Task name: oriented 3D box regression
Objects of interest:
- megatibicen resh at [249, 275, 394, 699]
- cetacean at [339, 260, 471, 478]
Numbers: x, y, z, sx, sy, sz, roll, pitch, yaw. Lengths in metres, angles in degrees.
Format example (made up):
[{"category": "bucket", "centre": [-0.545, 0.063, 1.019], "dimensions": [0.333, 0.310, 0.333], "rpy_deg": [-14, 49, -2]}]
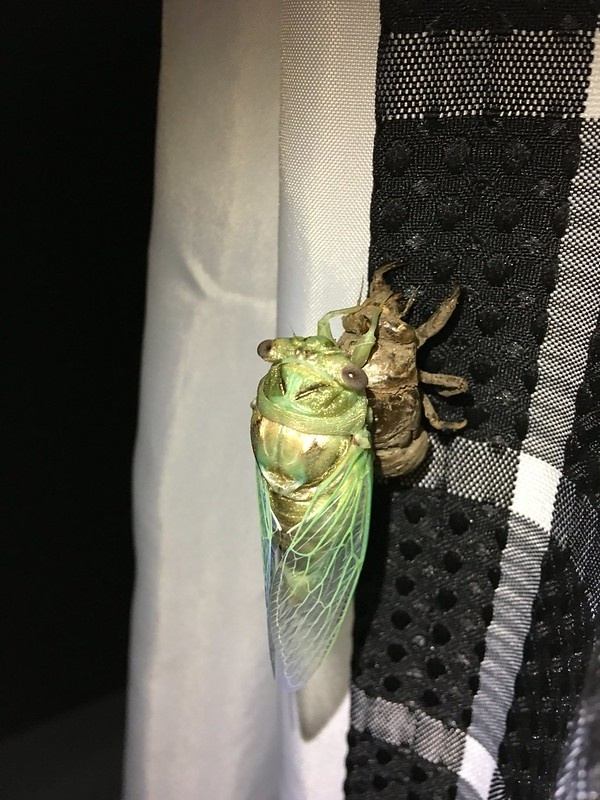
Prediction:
[{"category": "megatibicen resh", "centre": [0.025, 0.124, 0.990], "dimensions": [0.150, 0.481, 0.167], "rpy_deg": [17, 13, 42]}, {"category": "cetacean", "centre": [0.134, -0.044, 0.986], "dimensions": [0.187, 0.236, 0.084], "rpy_deg": [11, 17, 34]}]
